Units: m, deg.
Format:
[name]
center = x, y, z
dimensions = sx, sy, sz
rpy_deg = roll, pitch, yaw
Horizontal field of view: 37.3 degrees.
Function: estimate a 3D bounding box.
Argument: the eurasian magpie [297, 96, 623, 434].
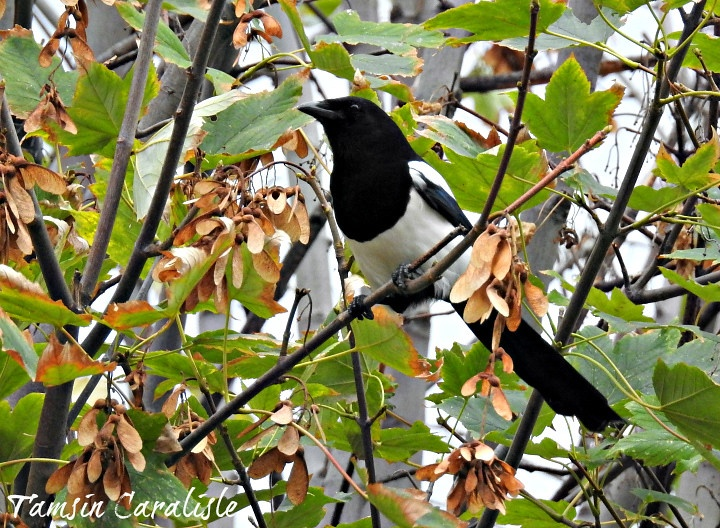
[eurasian magpie]
center = 0.490, -0.250, 6.216
dimensions = 0.625, 1.043, 2.362
rpy_deg = -7, -10, 38
